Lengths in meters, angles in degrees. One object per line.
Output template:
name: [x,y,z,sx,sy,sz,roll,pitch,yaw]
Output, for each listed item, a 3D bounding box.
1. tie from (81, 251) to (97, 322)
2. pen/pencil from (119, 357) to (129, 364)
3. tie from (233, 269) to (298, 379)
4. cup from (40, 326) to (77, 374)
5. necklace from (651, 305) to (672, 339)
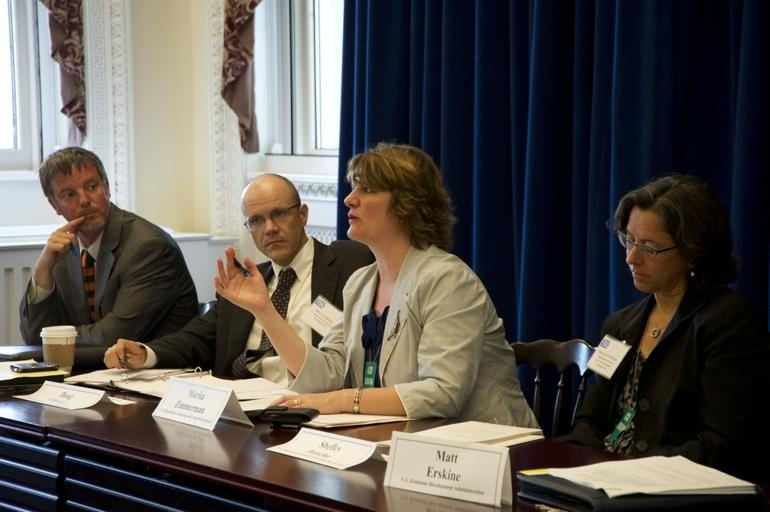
tie: [-1.406,0.114,3.010,0.058,0.446,0.048,-7,-11,14]
pen/pencil: [-0.995,0.401,2.420,0.023,0.026,0.025,1,-12,-5]
tie: [-0.483,0.326,2.742,0.219,0.431,0.126,17,-21,27]
cup: [-1.243,0.353,2.427,0.144,0.168,0.152,3,3,0]
necklace: [0.928,0.224,2.136,0.066,0.101,0.030,-10,-32,44]
